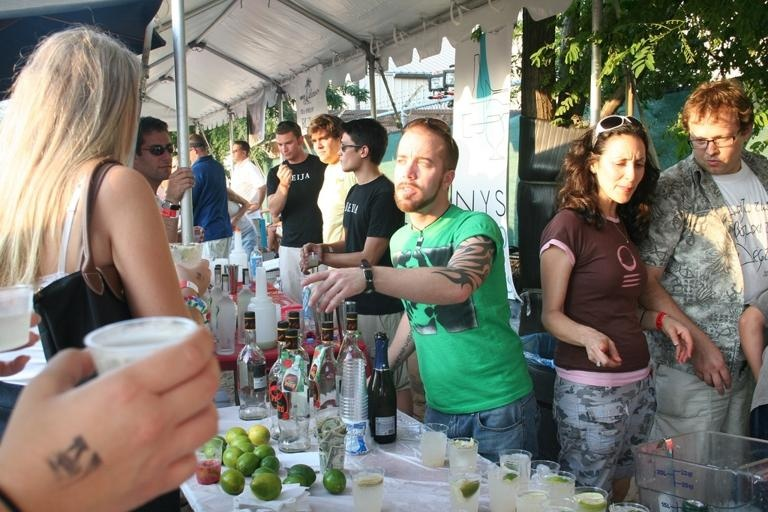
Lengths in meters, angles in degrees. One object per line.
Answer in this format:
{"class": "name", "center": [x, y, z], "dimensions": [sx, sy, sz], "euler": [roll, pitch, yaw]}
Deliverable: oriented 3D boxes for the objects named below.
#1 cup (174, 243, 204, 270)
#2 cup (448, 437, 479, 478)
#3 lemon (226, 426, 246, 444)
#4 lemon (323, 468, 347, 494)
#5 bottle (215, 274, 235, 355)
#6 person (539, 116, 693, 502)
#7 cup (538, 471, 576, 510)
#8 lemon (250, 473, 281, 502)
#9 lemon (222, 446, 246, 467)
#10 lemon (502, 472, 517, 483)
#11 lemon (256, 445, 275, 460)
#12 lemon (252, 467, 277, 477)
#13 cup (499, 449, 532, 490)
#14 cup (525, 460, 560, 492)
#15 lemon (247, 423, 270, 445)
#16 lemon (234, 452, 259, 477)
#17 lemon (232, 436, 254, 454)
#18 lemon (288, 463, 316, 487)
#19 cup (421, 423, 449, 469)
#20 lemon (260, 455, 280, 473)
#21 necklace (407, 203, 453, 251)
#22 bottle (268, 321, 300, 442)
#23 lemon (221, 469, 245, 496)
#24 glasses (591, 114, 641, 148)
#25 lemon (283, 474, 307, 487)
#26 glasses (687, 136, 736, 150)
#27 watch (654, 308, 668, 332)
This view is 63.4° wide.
{"class": "cup", "center": [-1.057, 0.000, 3.363], "dimensions": [0.145, 0.121, 0.166], "euler": [0, -5, -3]}
{"class": "cup", "center": [0.313, 0.791, 2.456], "dimensions": [0.120, 0.142, 0.130], "euler": [-1, -6, 0]}
{"class": "lemon", "center": [-0.647, 0.772, 2.709], "dimensions": [0.071, 0.059, 0.056], "euler": [-2, 40, 21]}
{"class": "lemon", "center": [-0.196, 0.879, 2.441], "dimensions": [0.095, 0.094, 0.082], "euler": [0, 3, -4]}
{"class": "bottle", "center": [-0.943, 0.397, 3.645], "dimensions": [0.126, 0.346, 0.148], "euler": [0, 3, -8]}
{"class": "person", "center": [1.088, 0.234, 3.207], "dimensions": [0.456, 1.935, 0.575], "euler": [3, 4, 41]}
{"class": "cup", "center": [0.643, 0.865, 2.295], "dimensions": [0.085, 0.099, 0.091], "euler": [-1, -4, 0]}
{"class": "lemon", "center": [-0.432, 0.862, 2.347], "dimensions": [0.108, 0.083, 0.085], "euler": [31, -43, -22]}
{"class": "lemon", "center": [-0.616, 0.808, 2.561], "dimensions": [0.070, 0.086, 0.071], "euler": [-2, 10, -45]}
{"class": "lemon", "center": [0.472, 0.827, 2.335], "dimensions": [0.052, 0.032, 0.017], "euler": [1, 3, 2]}
{"class": "lemon", "center": [-0.480, 0.794, 2.544], "dimensions": [0.063, 0.053, 0.054], "euler": [28, -14, 17]}
{"class": "lemon", "center": [-0.455, 0.823, 2.375], "dimensions": [0.078, 0.047, 0.059], "euler": [5, -4, -25]}
{"class": "cup", "center": [0.499, 0.820, 2.416], "dimensions": [0.103, 0.123, 0.109], "euler": [0, -8, 0]}
{"class": "cup", "center": [0.622, 0.864, 2.456], "dimensions": [0.097, 0.118, 0.107], "euler": [1, -4, 0]}
{"class": "lemon", "center": [-0.545, 0.783, 2.749], "dimensions": [0.089, 0.069, 0.069], "euler": [15, -19, 37]}
{"class": "lemon", "center": [-0.544, 0.823, 2.472], "dimensions": [0.070, 0.075, 0.095], "euler": [9, 17, 34]}
{"class": "lemon", "center": [-0.592, 0.786, 2.593], "dimensions": [0.050, 0.055, 0.069], "euler": [-18, -21, 42]}
{"class": "lemon", "center": [-0.323, 0.855, 2.434], "dimensions": [0.094, 0.075, 0.072], "euler": [5, -5, -1]}
{"class": "cup", "center": [0.196, 0.786, 2.608], "dimensions": [0.139, 0.163, 0.139], "euler": [1, 4, 0]}
{"class": "lemon", "center": [-0.452, 0.819, 2.456], "dimensions": [0.053, 0.056, 0.072], "euler": [3, -10, -1]}
{"class": "necklace", "center": [0.228, -0.145, 2.984], "dimensions": [0.208, 0.285, 0.149], "euler": [-4, -4, 44]}
{"class": "bottle", "center": [-0.463, 0.587, 2.923], "dimensions": [0.170, 0.585, 0.170], "euler": [3, 15, -1]}
{"class": "lemon", "center": [-0.581, 0.868, 2.391], "dimensions": [0.071, 0.079, 0.096], "euler": [0, -1, -20]}
{"class": "glasses", "center": [1.187, -0.683, 3.234], "dimensions": [0.168, 0.203, 0.059], "euler": [-3, 45, -17]}
{"class": "lemon", "center": [-0.343, 0.869, 2.410], "dimensions": [0.062, 0.040, 0.048], "euler": [3, -8, -16]}
{"class": "glasses", "center": [1.843, -0.641, 3.506], "dimensions": [0.236, 0.070, 0.098], "euler": [3, 4, 35]}
{"class": "watch", "center": [1.478, 0.344, 3.372], "dimensions": [0.057, 0.093, 0.085], "euler": [14, -18, 24]}
